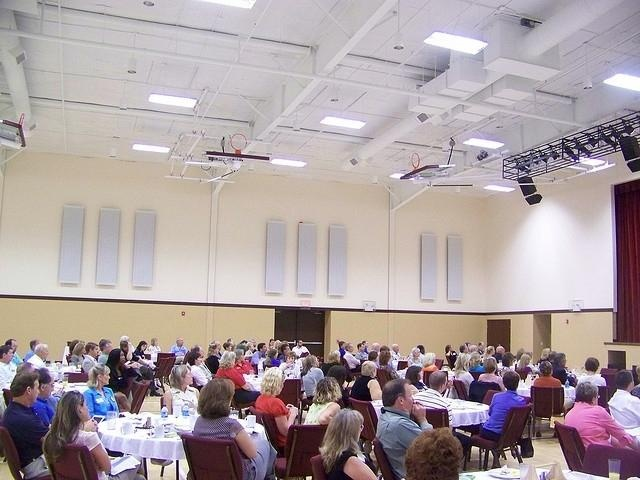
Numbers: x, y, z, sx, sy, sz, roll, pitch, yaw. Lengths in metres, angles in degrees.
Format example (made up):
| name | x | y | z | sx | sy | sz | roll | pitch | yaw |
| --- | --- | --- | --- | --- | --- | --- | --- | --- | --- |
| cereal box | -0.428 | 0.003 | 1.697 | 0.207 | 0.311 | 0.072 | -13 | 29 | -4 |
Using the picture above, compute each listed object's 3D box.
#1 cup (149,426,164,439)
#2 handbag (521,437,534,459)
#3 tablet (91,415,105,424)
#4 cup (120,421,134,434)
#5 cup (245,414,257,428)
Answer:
| name | x | y | z | sx | sy | sz | roll | pitch | yaw |
| --- | --- | --- | --- | --- | --- | --- | --- | --- | --- |
| cup | -1.997 | 2.344 | 6.066 | 0.181 | 0.144 | 0.118 | -7 | -10 | 37 |
| handbag | 3.437 | 3.446 | 8.230 | 0.160 | 0.407 | 0.619 | -4 | -10 | 27 |
| tablet | -3.134 | 2.512 | 6.961 | 0.181 | 0.057 | 0.204 | 2 | -2 | -10 |
| cup | -2.416 | 2.336 | 6.179 | 0.110 | 0.141 | 0.188 | 0 | -9 | -4 |
| cup | -0.924 | 2.352 | 6.416 | 0.154 | 0.169 | 0.105 | -1 | -4 | 10 |
